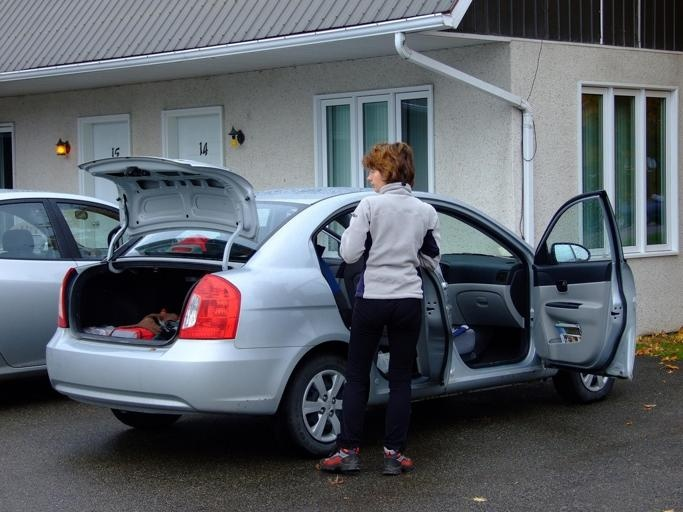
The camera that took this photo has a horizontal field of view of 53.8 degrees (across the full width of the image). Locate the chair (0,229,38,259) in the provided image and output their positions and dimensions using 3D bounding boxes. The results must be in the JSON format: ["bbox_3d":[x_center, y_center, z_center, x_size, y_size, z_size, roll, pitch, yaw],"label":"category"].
[{"bbox_3d":[-2.857,-0.127,6.070,0.293,0.236,0.427,-3,14,-9],"label":"chair"}]

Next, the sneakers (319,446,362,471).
[{"bbox_3d":[0.004,1.302,4.354,0.287,0.153,0.113,2,-3,14],"label":"sneakers"}]

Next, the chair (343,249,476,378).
[{"bbox_3d":[0.643,0.435,5.073,0.976,0.977,0.822,-4,7,-26],"label":"chair"}]

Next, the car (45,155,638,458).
[{"bbox_3d":[0.068,0.397,5.079,3.222,1.299,2.801,-6,8,-41],"label":"car"}]

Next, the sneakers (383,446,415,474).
[{"bbox_3d":[0.342,1.309,4.376,0.105,0.184,0.254,4,6,42],"label":"sneakers"}]

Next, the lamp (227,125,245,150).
[{"bbox_3d":[-1.626,-1.858,10.510,0.239,0.338,0.137,1,2,43],"label":"lamp"}]

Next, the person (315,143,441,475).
[{"bbox_3d":[0.269,0.326,4.353,0.755,2.128,0.332,-1,1,-30],"label":"person"}]
